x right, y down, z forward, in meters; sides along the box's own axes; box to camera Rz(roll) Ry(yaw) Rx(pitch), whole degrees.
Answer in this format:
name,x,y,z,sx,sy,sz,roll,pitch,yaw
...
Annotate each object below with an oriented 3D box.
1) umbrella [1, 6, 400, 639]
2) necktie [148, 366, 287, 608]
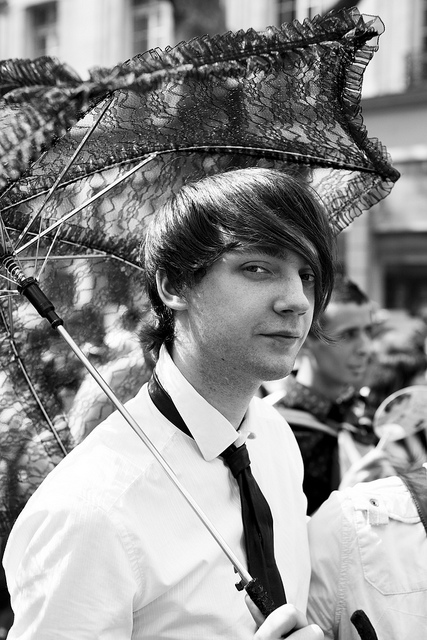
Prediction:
name,x,y,z,sx,sy,sz,roll,pitch,yaw
umbrella,-0.206,-0.163,2.402,0.463,1.369,1.523,29,31,32
necktie,-0.010,0.388,2.214,0.104,0.617,0.194,-39,-17,23
